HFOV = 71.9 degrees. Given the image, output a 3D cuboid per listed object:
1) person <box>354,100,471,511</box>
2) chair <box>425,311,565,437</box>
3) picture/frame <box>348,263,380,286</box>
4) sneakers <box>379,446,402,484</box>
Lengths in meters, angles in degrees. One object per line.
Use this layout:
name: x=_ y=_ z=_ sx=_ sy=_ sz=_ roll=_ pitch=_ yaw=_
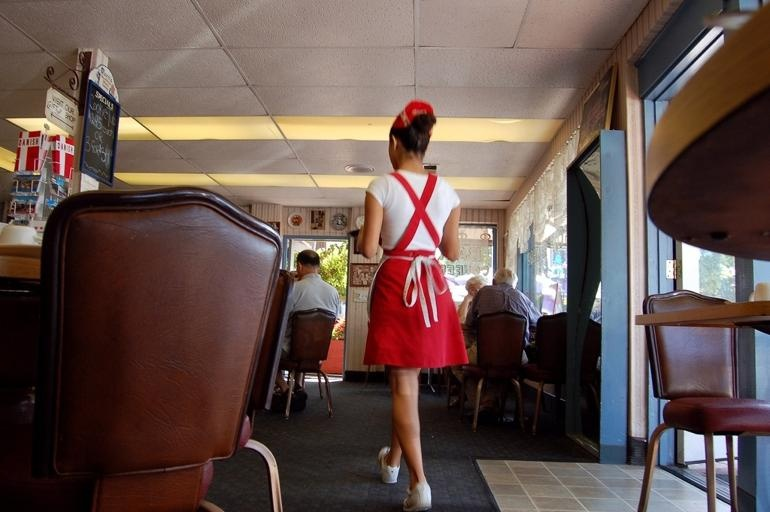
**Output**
person: x=0.165 y=0.161 z=2.752 sx=0.525 sy=2.176 sz=0.594 roll=0 pitch=-6 yaw=15
chair: x=1.114 y=0.920 z=4.758 sx=0.978 sy=1.407 sz=0.977 roll=1 pitch=-29 yaw=19
picture/frame: x=-0.320 y=0.272 z=7.517 sx=0.442 sy=0.379 sz=0.047 roll=1 pitch=-14 yaw=0
sneakers: x=0.035 y=1.191 z=3.020 sx=0.081 sy=0.097 sz=0.227 roll=3 pitch=15 yaw=-4
